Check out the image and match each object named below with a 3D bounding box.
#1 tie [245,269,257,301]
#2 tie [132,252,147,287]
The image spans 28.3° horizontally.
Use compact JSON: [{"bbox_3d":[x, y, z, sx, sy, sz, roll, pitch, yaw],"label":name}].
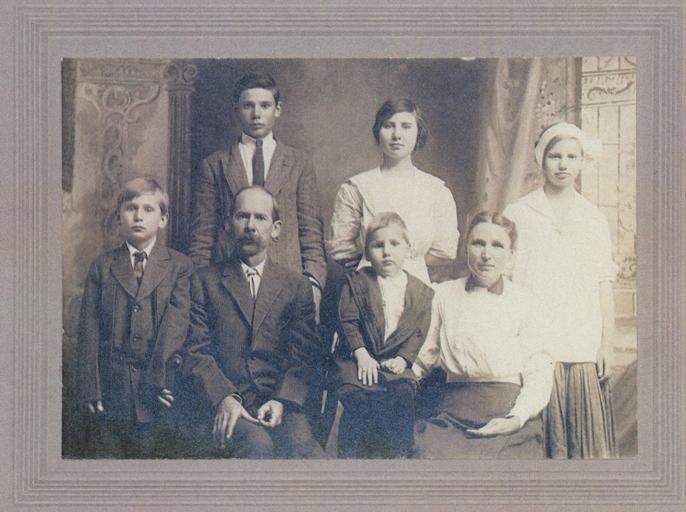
[{"bbox_3d":[-0.849,0.253,12.786,0.131,0.250,0.060,1,1,0],"label":"tie"},{"bbox_3d":[-1.906,0.115,12.835,0.097,0.365,0.094,1,-6,-5],"label":"tie"}]
